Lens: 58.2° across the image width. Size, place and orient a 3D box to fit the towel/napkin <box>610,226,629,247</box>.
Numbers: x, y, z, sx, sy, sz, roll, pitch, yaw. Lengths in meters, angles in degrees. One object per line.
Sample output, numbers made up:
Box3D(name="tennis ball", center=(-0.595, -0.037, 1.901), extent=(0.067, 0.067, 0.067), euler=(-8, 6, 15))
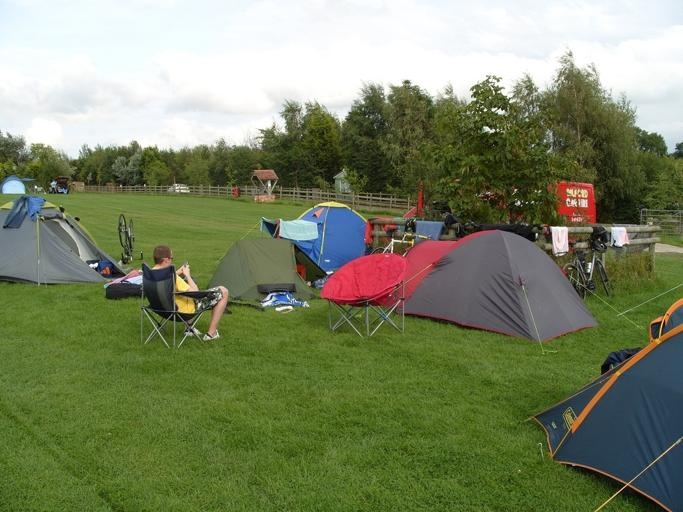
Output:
Box3D(name="towel/napkin", center=(6.434, -0.444, 14.172), extent=(0.383, 0.431, 0.146), euler=(-4, 3, -30))

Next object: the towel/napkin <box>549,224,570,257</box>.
Box3D(name="towel/napkin", center=(4.551, -0.297, 12.794), extent=(0.524, 0.806, 0.139), euler=(-2, 2, -18))

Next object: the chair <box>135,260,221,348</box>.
Box3D(name="chair", center=(-2.528, 0.748, 9.486), extent=(0.972, 1.243, 1.007), euler=(5, 5, 31))

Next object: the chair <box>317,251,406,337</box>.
Box3D(name="chair", center=(0.695, 0.719, 10.322), extent=(1.015, 1.003, 1.039), euler=(-1, -7, -37))

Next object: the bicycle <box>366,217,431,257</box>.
Box3D(name="bicycle", center=(1.111, -0.519, 14.642), extent=(1.094, 0.927, 0.848), euler=(1, 0, 38))

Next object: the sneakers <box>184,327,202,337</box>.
Box3D(name="sneakers", center=(-2.379, 1.204, 9.702), extent=(0.284, 0.161, 0.151), euler=(-1, 2, 6))

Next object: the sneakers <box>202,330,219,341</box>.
Box3D(name="sneakers", center=(-2.065, 1.251, 9.723), extent=(0.283, 0.148, 0.107), euler=(-2, 6, -26))

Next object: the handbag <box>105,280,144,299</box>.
Box3D(name="handbag", center=(-4.305, 0.688, 12.090), extent=(0.662, 0.274, 0.737), euler=(1, 3, -2))
